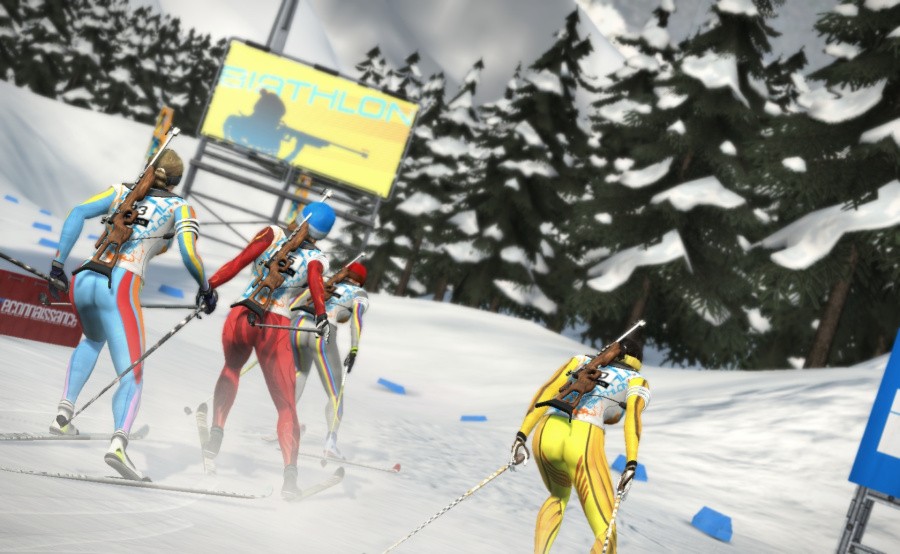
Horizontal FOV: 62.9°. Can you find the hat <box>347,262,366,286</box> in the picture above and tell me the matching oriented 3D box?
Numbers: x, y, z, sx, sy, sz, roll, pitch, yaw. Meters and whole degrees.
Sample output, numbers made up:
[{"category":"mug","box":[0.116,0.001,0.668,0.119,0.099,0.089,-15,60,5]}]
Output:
[{"category":"hat","box":[-1.760,-0.080,13.529,0.290,0.352,0.410,15,-42,10]}]

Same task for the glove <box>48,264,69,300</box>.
[{"category":"glove","box":[-5.687,0.064,10.778,0.128,0.409,0.304,-39,-5,40]}]

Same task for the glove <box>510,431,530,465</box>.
[{"category":"glove","box":[1.011,2.466,10.602,0.328,0.452,0.191,0,7,-1]}]

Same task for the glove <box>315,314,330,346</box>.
[{"category":"glove","box":[-1.972,0.802,11.683,0.169,0.397,0.252,5,-4,-43]}]

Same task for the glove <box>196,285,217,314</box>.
[{"category":"glove","box":[-3.579,0.336,11.040,0.289,0.370,0.400,4,2,12]}]
